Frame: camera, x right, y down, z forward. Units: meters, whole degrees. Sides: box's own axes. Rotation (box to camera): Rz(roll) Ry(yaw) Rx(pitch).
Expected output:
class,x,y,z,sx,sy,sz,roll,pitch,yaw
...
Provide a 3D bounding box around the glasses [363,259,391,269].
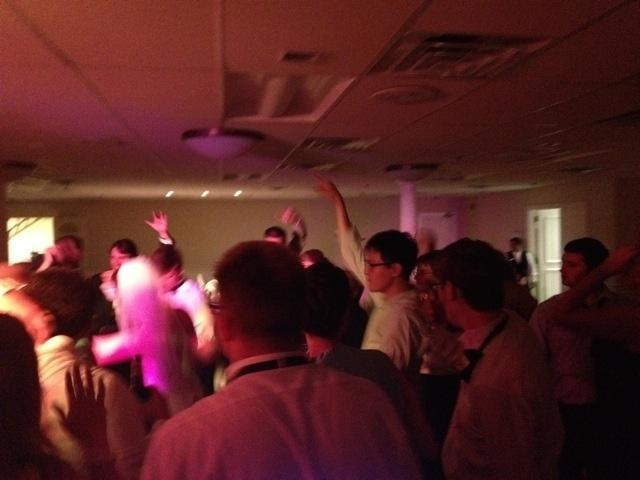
class,x,y,z,sx,sy,sz,roll,pitch,yaw
glasses,0.320,0.130,2.543,0.153,0.033,0.030,-1,0,35

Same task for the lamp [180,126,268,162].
class,x,y,z,sx,sy,sz,roll,pitch,yaw
lamp,-0.814,-0.762,3.787,0.690,0.177,0.681,-1,-5,11
